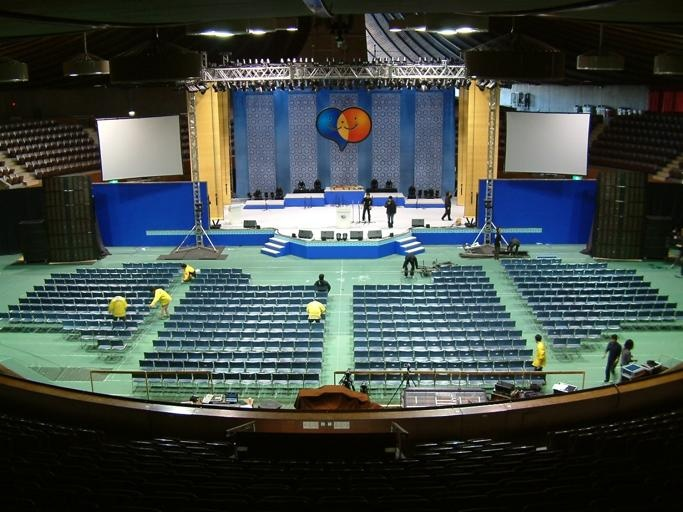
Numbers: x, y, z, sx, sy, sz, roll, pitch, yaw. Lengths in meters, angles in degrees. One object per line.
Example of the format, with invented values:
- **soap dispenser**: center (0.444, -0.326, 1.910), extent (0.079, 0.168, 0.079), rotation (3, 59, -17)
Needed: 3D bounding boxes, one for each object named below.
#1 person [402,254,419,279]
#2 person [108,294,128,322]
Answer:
- **person**: center (3.024, 0.447, 23.339), extent (0.765, 0.778, 1.246), rotation (-1, -48, 1)
- **person**: center (-7.166, 1.648, 17.129), extent (0.629, 0.470, 0.832), rotation (-5, -65, -25)
